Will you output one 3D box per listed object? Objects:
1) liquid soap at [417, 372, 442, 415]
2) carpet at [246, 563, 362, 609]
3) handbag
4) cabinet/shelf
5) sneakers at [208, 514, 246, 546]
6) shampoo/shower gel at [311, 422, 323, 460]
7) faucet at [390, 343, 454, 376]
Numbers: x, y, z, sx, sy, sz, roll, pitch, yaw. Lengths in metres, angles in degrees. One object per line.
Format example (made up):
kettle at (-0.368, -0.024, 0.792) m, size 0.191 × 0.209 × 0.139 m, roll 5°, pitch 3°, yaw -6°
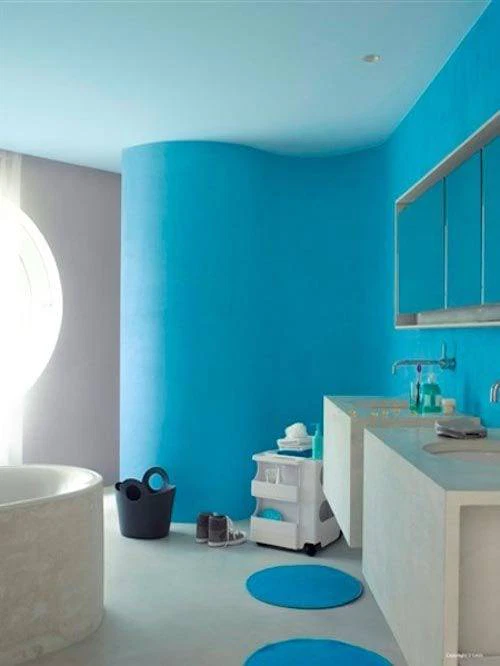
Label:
liquid soap at (0.762, 0.267, 2.375) m, size 0.093 × 0.178 × 0.098 m, roll 1°, pitch -12°, yaw 1°
carpet at (0.279, 1.304, 2.882) m, size 0.603 × 0.018 × 0.514 m, roll 0°, pitch -2°, yaw -1°
handbag at (-0.680, 1.125, 3.684) m, size 0.342 × 0.466 × 0.464 m, roll -1°, pitch -16°, yaw 1°
cabinet/shelf at (0.320, 1.076, 3.703) m, size 0.482 × 0.568 × 0.581 m, roll -3°, pitch -5°, yaw 31°
sneakers at (-0.151, 1.252, 3.631) m, size 0.115 × 0.197 × 0.302 m, roll 1°, pitch 0°, yaw 43°
shampoo/shower gel at (0.425, 0.687, 3.533) m, size 0.054 × 0.195 × 0.175 m, roll -1°, pitch -2°, yaw 10°
faucet at (0.786, 0.117, 2.623) m, size 0.370 × 0.187 × 0.127 m, roll 1°, pitch -1°, yaw -8°
